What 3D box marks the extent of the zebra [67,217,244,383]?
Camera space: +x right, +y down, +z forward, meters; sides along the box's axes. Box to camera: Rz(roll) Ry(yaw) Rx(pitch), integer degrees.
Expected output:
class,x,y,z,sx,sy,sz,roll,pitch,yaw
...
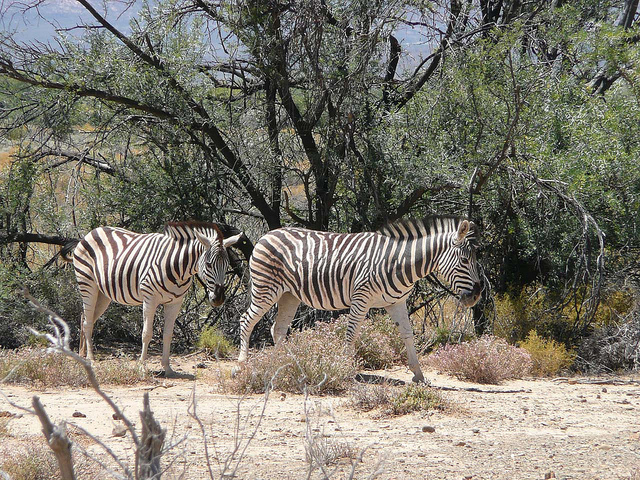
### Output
class,x,y,z,sx,sy,sz,roll,pitch,yaw
zebra,-3.205,0.940,12.146,3.313,3.063,1.105,6,6,23
